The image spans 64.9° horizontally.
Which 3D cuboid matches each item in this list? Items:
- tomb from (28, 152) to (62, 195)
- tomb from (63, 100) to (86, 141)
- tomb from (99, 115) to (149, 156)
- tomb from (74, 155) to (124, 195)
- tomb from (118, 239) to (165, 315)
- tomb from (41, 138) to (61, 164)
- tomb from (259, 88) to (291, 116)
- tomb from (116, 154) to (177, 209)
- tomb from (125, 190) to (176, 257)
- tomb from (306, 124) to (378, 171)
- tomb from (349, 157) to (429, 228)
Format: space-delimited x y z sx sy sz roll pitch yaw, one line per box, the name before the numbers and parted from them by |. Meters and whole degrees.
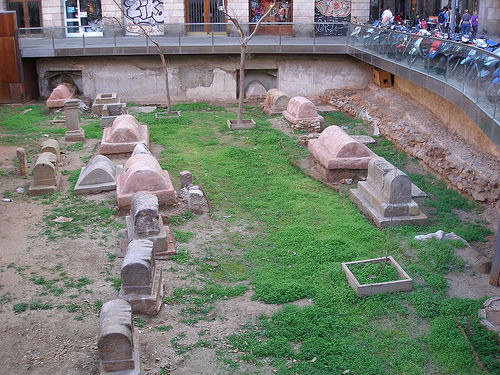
tomb | -5.388 -0.331 10.310 0.721 0.822 0.929 -7 19 -13
tomb | -6.101 -2.269 13.531 0.647 1.359 0.529 -10 20 -22
tomb | -4.039 -1.697 12.625 1.468 0.982 1.591 -7 19 -13
tomb | -4.076 -0.442 10.672 1.212 0.544 1.733 -5 24 -15
tomb | -1.832 1.546 6.633 0.499 0.701 0.967 -1 19 -5
tomb | -5.922 -1.148 11.986 0.596 0.658 0.736 8 -5 -43
tomb | 1.024 -3.591 16.912 1.004 0.762 1.362 -6 27 -15
tomb | -2.779 -0.343 10.161 1.445 0.839 2.427 -7 22 -17
tomb | -2.027 0.740 7.956 0.993 1.080 1.910 -1 14 -13
tomb | 2.605 -1.046 11.076 1.279 0.790 1.686 -4 20 -9
tomb | 3.272 0.022 9.394 1.335 1.154 2.004 -4 21 0
